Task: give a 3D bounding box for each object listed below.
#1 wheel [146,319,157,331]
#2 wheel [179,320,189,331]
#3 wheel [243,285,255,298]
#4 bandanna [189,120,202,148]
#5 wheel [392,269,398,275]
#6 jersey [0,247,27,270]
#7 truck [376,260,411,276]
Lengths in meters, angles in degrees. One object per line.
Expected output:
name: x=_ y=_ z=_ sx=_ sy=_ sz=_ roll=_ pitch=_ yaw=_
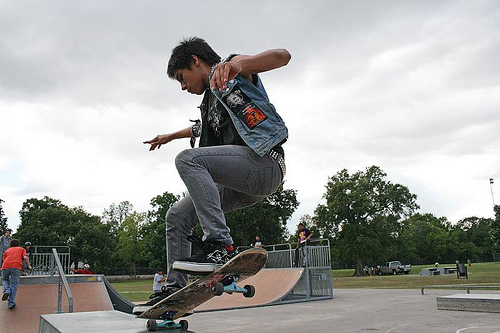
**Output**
wheel: x=-1.502 y=2.390 z=5.485 sx=0.121 sy=0.161 sz=0.173 roll=3 pitch=26 yaw=-11
wheel: x=-1.056 y=2.488 z=5.742 sx=0.142 sy=0.150 sz=0.147 roll=-2 pitch=-14 yaw=0
wheel: x=-0.008 y=1.870 z=5.496 sx=0.148 sy=0.197 sz=0.340 roll=-3 pitch=-14 yaw=4
bandanna: x=-0.952 y=-0.612 z=6.276 sx=0.169 sy=0.542 sz=0.522 roll=1 pitch=-14 yaw=-10
wheel: x=19.932 y=14.289 z=49.715 sx=0.624 sy=0.659 sz=0.953 roll=-6 pitch=-14 yaw=17
jersey: x=-7.861 y=3.009 z=11.984 sx=0.567 sy=0.737 sz=0.533 roll=7 pitch=-16 yaw=-32
truck: x=19.712 y=14.469 z=50.540 sx=4.691 sy=1.817 sz=2.786 roll=-7 pitch=-15 yaw=35
